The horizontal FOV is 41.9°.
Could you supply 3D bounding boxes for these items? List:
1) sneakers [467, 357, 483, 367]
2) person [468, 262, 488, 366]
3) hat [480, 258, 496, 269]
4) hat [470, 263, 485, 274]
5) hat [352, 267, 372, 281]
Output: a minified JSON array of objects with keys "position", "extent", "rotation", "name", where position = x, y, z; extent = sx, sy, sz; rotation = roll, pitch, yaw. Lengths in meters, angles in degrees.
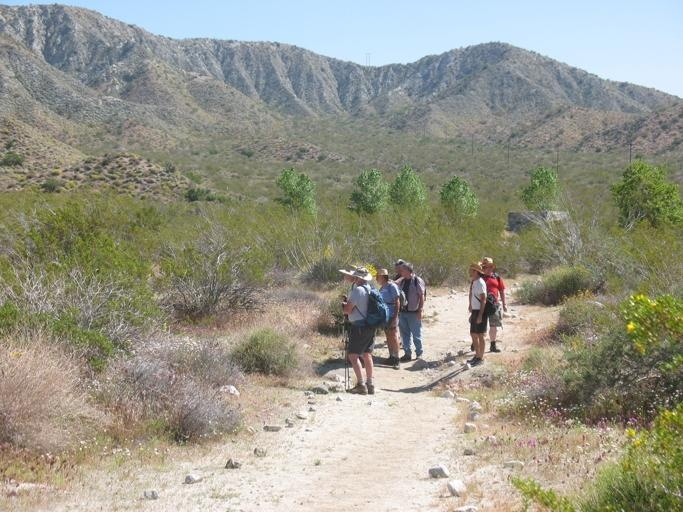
[{"position":[4.372,3.484,29.275],"extent":[0.357,0.143,0.296],"rotation":[-10,-3,-8],"name":"sneakers"},{"position":[4.499,1.928,29.379],"extent":[0.604,3.286,0.712],"rotation":[2,5,8],"name":"person"},{"position":[4.852,0.237,29.833],"extent":[0.376,0.245,0.371],"rotation":[6,6,30],"name":"hat"},{"position":[4.487,0.417,29.492],"extent":[0.325,0.125,0.328],"rotation":[21,-3,-12],"name":"hat"},{"position":[0.646,0.595,28.334],"extent":[0.415,0.158,0.437],"rotation":[9,17,2],"name":"hat"}]
